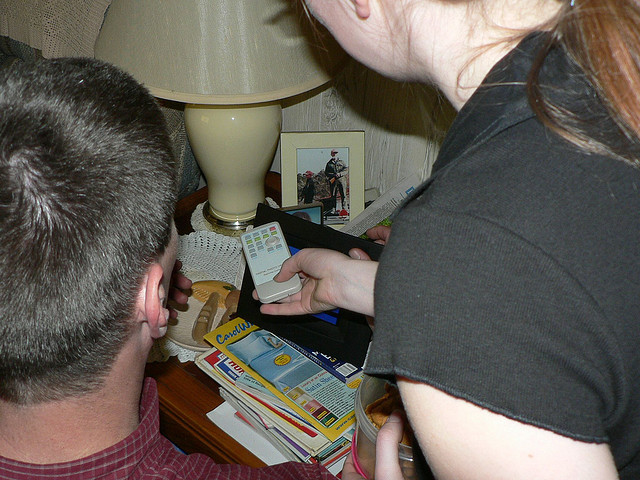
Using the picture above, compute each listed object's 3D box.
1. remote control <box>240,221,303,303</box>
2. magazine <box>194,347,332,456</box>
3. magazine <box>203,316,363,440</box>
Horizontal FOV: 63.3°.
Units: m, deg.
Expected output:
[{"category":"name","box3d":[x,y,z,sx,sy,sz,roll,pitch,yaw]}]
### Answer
[{"category":"remote control","box3d":[-0.094,0.044,0.986,0.083,0.035,0.156,-18,63,-4]},{"category":"magazine","box3d":[-0.079,0.244,0.947,0.245,0.028,0.177,24,17,18]},{"category":"magazine","box3d":[-0.060,0.231,0.921,0.272,0.016,0.191,24,24,8]}]
